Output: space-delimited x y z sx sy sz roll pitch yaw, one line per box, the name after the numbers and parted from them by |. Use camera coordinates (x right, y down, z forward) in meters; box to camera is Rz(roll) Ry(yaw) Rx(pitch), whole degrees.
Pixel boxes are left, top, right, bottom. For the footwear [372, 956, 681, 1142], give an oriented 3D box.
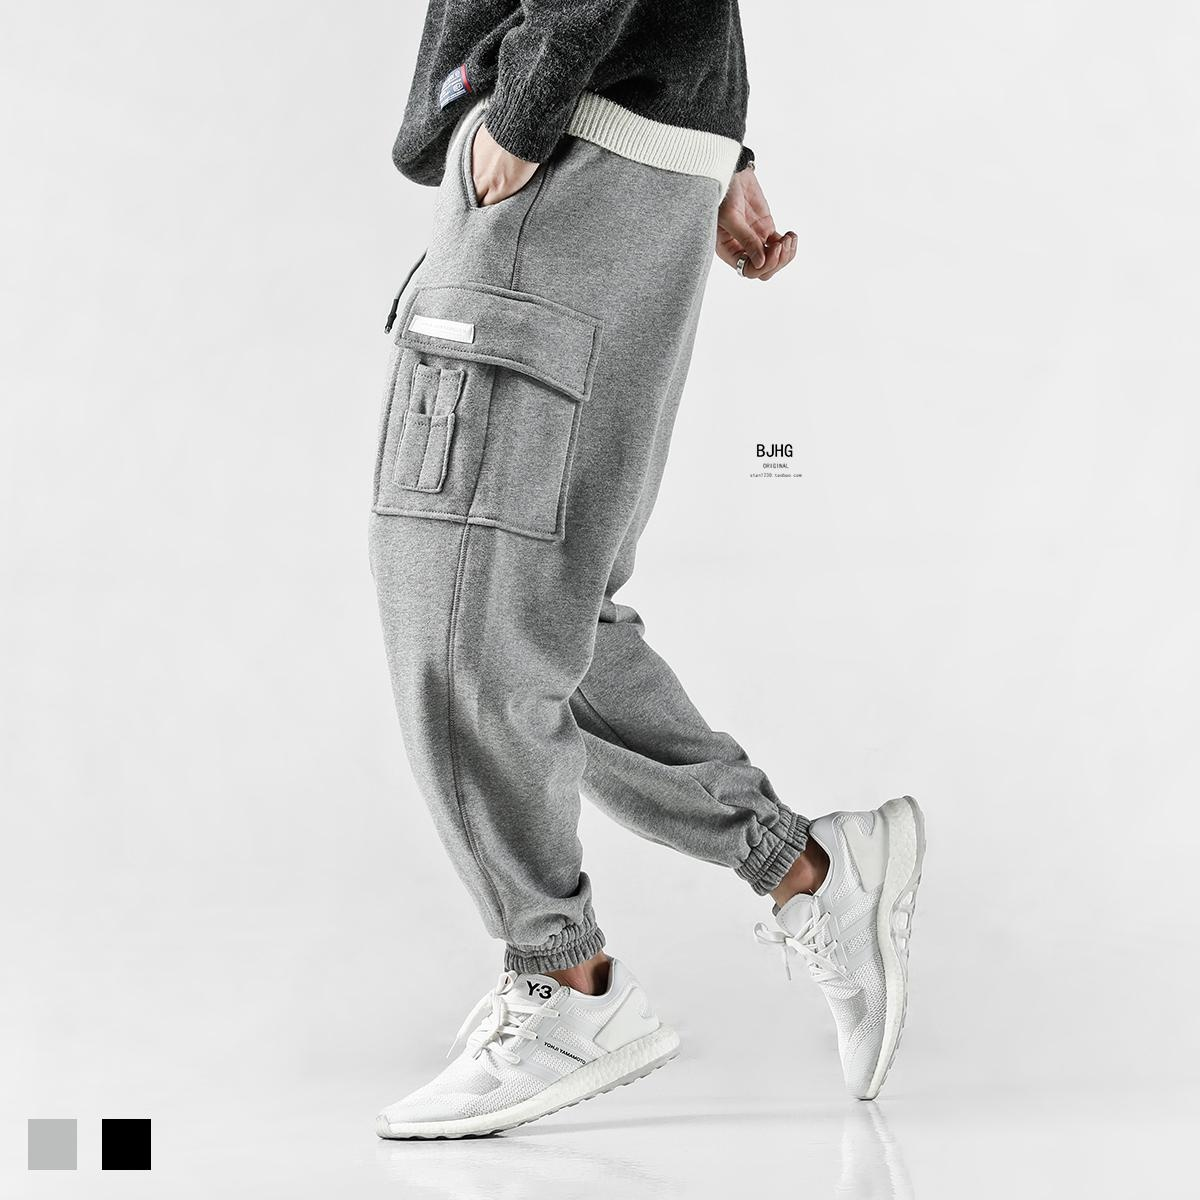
-0.097 0.574 1.876 0.441 0.158 0.143 -9 2 -39 | footwear

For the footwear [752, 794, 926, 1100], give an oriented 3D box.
0.345 0.461 2.075 0.247 0.429 0.165 1 -4 -14 | footwear

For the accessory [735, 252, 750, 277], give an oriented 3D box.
0.222 -0.507 2.181 0.028 0.025 0.026 7 -37 14 | accessory
